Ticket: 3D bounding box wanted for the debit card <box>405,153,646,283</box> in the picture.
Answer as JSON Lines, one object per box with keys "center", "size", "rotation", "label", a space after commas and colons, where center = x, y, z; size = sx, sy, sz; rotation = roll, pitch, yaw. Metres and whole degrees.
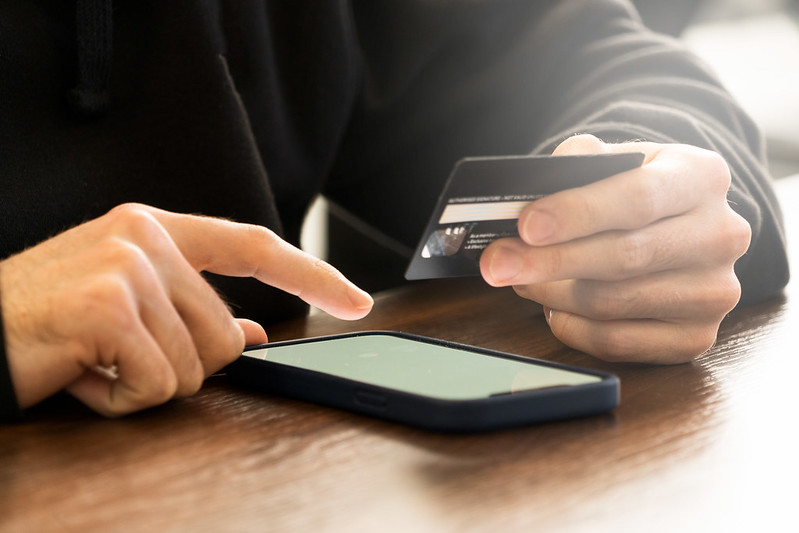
{"center": [0.138, -0.045, 0.681], "size": [0.301, 0.194, 0.014], "rotation": [-10, 56, -22], "label": "debit card"}
